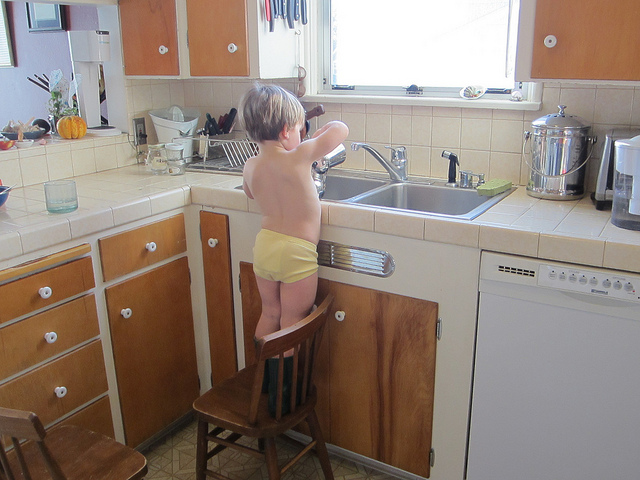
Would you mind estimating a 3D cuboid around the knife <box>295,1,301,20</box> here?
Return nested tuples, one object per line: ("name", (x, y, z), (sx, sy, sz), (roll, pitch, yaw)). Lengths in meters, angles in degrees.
("knife", (-0.114, -1.137, 2.379), (0.034, 0.082, 0.016), (-13, 19, -35))

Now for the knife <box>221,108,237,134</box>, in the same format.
("knife", (-0.511, -0.670, 2.707), (0.048, 0.202, 0.029), (19, 27, -7))

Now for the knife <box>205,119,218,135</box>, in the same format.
("knife", (-0.611, -0.624, 2.677), (0.028, 0.131, 0.034), (-6, 3, 1))

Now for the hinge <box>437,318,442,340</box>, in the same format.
("hinge", (0.436, 0.324, 1.758), (0.017, 0.079, 0.005), (3, 16, 15))

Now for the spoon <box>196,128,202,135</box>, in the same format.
("spoon", (-0.688, -0.614, 2.718), (0.026, 0.040, 0.040), (-1, 9, -29))

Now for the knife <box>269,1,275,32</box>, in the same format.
("knife", (-0.227, -1.059, 2.259), (0.021, 0.110, 0.027), (1, 5, 0))

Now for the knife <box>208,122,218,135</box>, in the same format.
("knife", (-0.598, -0.622, 2.678), (0.037, 0.066, 0.021), (-7, 8, 31))

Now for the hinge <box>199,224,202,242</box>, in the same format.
("hinge", (-0.545, -0.034, 2.194), (0.006, 0.073, 0.017), (-13, 19, -35))

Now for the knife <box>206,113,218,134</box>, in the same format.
("knife", (-0.602, -0.668, 2.706), (0.035, 0.172, 0.047), (-18, -22, -19))

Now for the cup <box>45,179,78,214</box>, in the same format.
("cup", (-0.992, -0.169, 1.858), (0.089, 0.113, 0.117), (11, 20, 36))

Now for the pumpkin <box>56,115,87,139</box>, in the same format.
("pumpkin", (-1.274, -0.579, 2.473), (0.119, 0.122, 0.120), (-2, 17, -34))

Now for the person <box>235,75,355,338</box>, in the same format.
("person", (-0.086, -0.088, 1.833), (0.392, 0.977, 0.196), (-3, 16, -5))

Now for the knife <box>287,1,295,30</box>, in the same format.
("knife", (-0.144, -1.101, 2.350), (0.027, 0.121, 0.054), (4, 17, 20))

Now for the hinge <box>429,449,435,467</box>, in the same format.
("hinge", (0.438, 0.851, 1.885), (0.017, 0.074, 0.007), (1, 16, 10))

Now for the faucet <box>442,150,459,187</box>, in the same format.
("faucet", (0.598, -0.330, 2.197), (0.068, 0.161, 0.125), (5, 18, 23))

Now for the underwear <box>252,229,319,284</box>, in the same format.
("underwear", (-0.128, -0.034, 1.859), (0.291, 0.230, 0.177), (11, 21, 23))

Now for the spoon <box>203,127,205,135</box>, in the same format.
("spoon", (-0.650, -0.618, 2.689), (0.014, 0.062, 0.014), (1, 1, -1))
